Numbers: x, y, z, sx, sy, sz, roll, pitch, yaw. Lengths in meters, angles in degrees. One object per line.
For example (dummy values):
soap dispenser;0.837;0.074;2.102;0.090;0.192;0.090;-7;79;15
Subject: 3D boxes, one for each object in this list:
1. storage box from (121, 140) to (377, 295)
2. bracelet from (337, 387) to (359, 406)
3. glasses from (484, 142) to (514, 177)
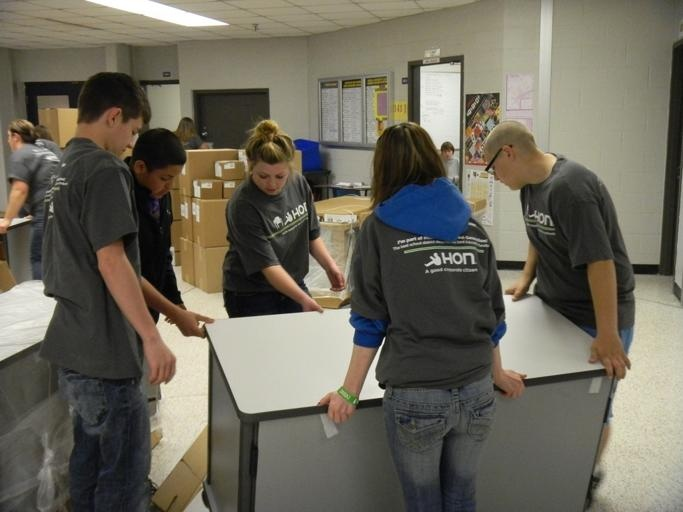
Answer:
storage box;-0.953;-0.209;5.685;1.684;1.474;1.830;-3;11;-22
bracelet;0.022;0.493;1.870;0.062;0.026;0.057;35;-2;-12
glasses;0.723;-0.470;2.565;0.049;0.195;0.171;9;16;30
